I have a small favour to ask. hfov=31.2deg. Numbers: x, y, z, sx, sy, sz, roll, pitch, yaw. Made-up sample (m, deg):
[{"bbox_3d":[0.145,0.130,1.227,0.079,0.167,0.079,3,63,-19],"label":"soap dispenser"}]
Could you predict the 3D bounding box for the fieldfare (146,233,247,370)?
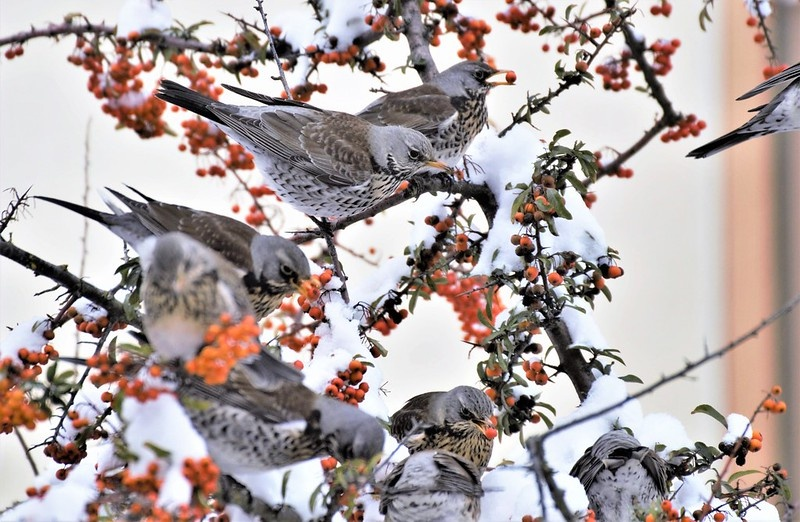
[{"bbox_3d":[-1.230,0.203,8.592,0.443,0.583,0.947,2,-88,-13],"label":"fieldfare"}]
